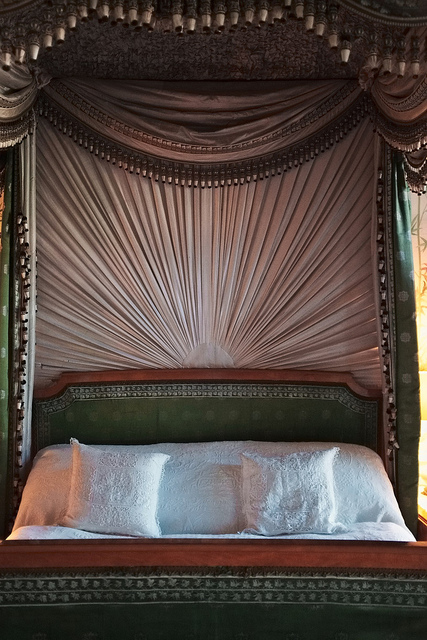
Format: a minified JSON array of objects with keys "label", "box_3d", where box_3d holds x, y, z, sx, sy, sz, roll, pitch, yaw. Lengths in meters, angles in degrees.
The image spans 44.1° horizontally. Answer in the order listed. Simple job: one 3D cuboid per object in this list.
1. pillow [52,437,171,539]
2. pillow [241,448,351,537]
[{"label":"pillow","box_3d":[-0.417,0.696,2.145,0.335,0.317,0.118,4,-47,4]},{"label":"pillow","box_3d":[0.317,0.712,2.158,0.405,0.393,0.161,0,-37,0]}]
